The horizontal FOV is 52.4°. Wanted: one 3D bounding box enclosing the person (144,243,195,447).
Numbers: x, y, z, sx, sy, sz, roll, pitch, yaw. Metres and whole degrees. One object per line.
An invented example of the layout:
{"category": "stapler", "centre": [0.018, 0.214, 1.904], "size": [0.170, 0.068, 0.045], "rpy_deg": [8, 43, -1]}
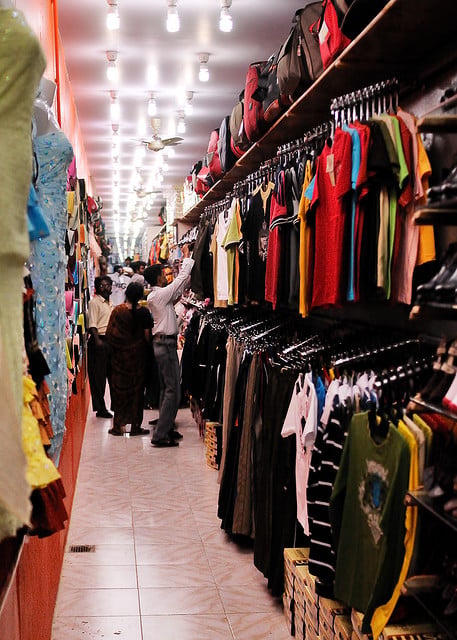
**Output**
{"category": "person", "centre": [-0.743, 0.355, 5.617], "size": [0.533, 2.299, 0.932], "rpy_deg": [1, 2, -11]}
